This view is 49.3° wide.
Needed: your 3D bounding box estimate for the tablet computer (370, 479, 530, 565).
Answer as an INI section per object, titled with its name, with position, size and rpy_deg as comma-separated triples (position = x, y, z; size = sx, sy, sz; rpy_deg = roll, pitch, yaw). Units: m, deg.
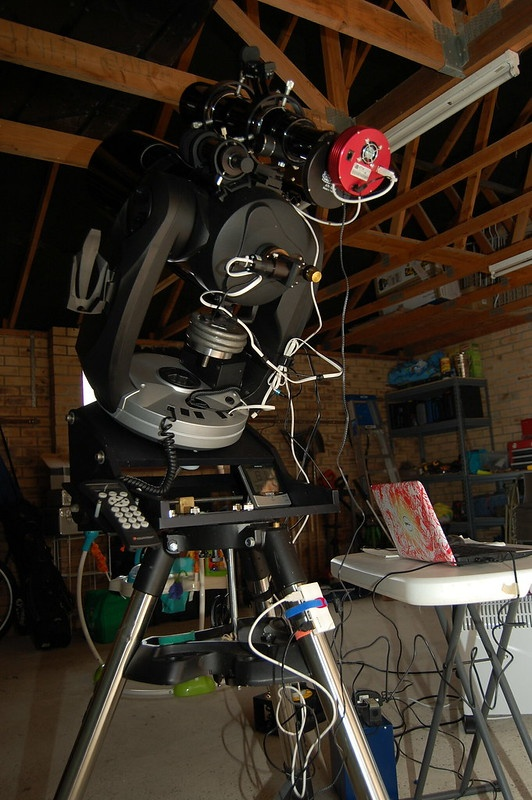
[tablet computer]
position = 0.431, 0.300, 1.377
size = 0.289, 0.175, 0.279
rpy_deg = -3, -4, -16
